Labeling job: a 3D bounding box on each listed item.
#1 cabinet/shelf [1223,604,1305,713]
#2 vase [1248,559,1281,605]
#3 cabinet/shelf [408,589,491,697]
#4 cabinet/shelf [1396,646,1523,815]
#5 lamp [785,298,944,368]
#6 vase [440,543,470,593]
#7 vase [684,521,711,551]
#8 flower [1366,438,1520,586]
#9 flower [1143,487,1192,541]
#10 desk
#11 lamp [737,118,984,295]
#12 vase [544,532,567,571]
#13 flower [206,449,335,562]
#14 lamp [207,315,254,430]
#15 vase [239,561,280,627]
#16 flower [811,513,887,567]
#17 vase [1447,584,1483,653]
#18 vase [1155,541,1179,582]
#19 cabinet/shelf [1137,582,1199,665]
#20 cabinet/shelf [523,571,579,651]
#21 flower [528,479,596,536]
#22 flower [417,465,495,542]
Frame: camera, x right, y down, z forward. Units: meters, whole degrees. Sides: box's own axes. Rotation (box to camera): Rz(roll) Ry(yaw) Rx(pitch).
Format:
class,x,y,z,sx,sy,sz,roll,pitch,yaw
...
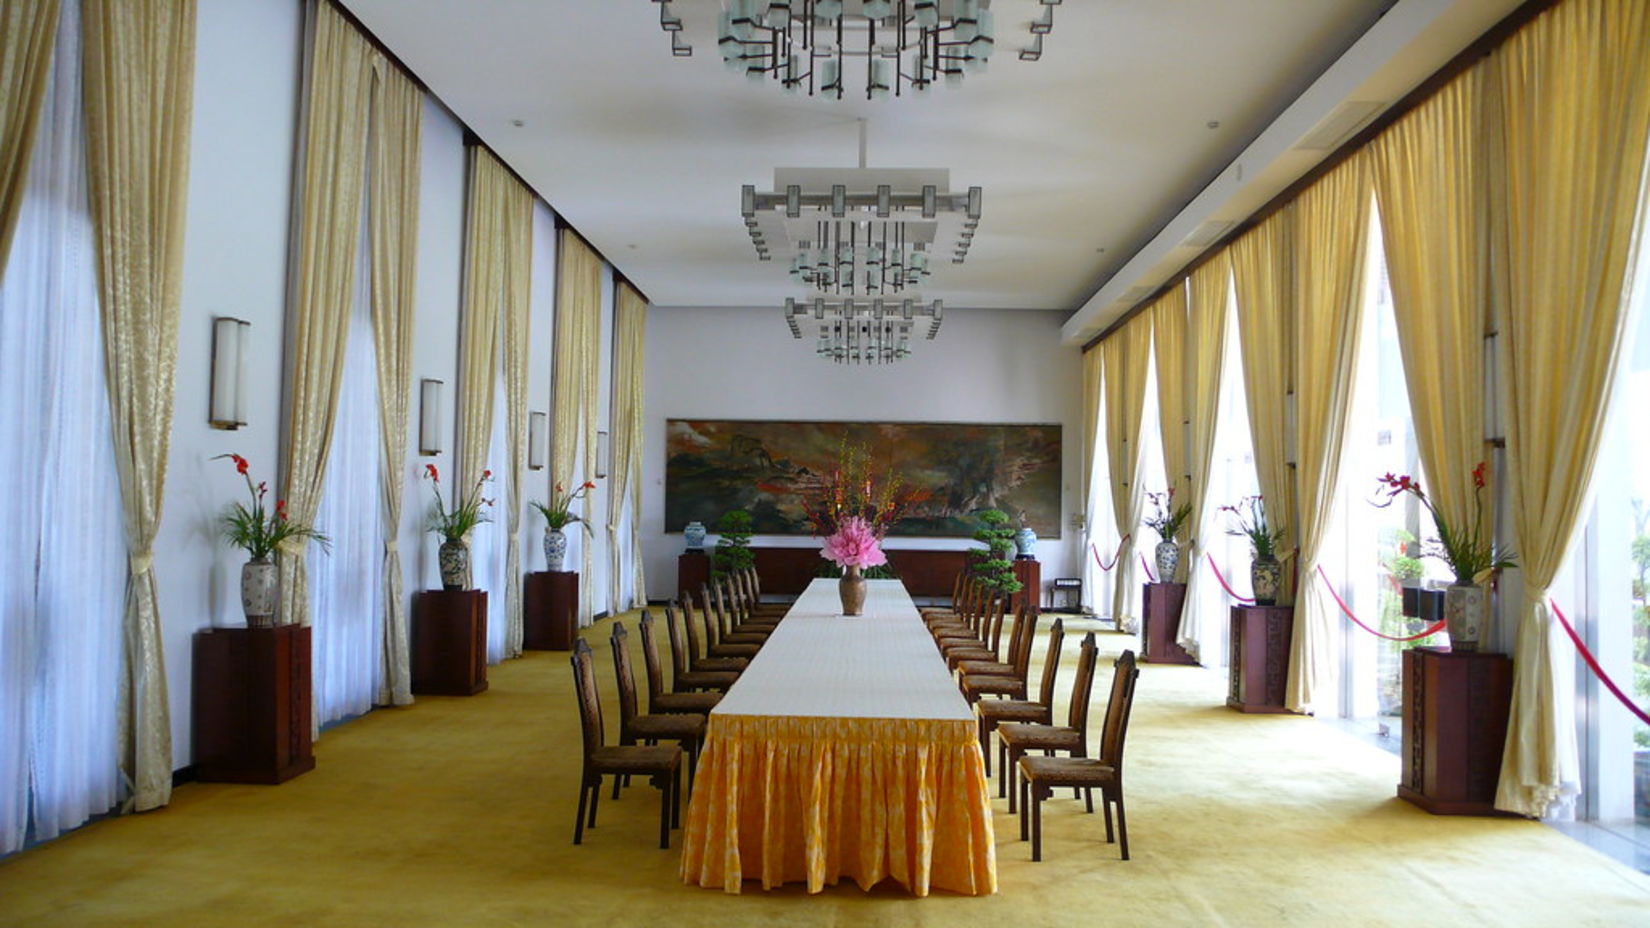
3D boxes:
class,x,y,z,sx,sy,sz,roll,pitch,yaw
cabinet/shelf,4.771,2.166,12.181,0.642,1.155,0.458,5,13,19
vase,4.896,1.325,12.303,0.315,0.460,0.255,5,13,17
cabinet/shelf,-4.276,2.040,12.624,0.872,1.029,0.842,-1,-7,8
cabinet/shelf,5.349,2.288,9.476,0.817,1.320,0.553,7,14,27
lamp,0.472,-1.848,15.146,1.728,0.540,1.696,0,-3,0
vase,-4.182,1.146,12.477,0.280,0.510,0.230,-5,14,-25
vase,-2.242,1.315,19.794,0.467,0.658,0.542,-1,3,-19
flower,5.499,0.510,10.021,1.076,1.373,1.114,-5,3,-29
flower,4.881,0.767,15.519,0.753,0.729,0.660,0,-4,9
desk,0.064,2.242,9.084,2.170,1.297,2.610,0,11,-2
lamp,0.397,-3.133,11.385,2.489,1.182,1.776,-2,20,-3
vase,-3.685,1.215,15.087,0.231,0.525,0.345,-5,14,-24
flower,-5.108,0.487,10.163,0.882,0.588,0.822,0,-8,20
lamp,-5.316,-0.759,9.837,0.293,1.024,0.369,-1,13,-9
vase,-4.992,1.155,9.749,0.277,0.539,0.308,-5,14,-26
flower,0.327,0.842,11.332,0.661,0.530,0.643,0,-2,-18
vase,5.527,1.341,9.589,0.293,0.555,0.165,8,15,31
vase,4.662,1.352,15.044,0.313,0.540,0.242,1,13,2
cabinet/shelf,4.516,2.158,14.807,1.006,1.255,0.816,-1,1,4
cabinet/shelf,-3.862,2.044,15.123,0.728,0.891,0.715,5,-8,-30
flower,-3.760,0.638,16.046,0.706,0.685,0.632,1,-4,17
flower,-4.306,0.544,12.896,0.810,0.906,0.862,5,3,-10
